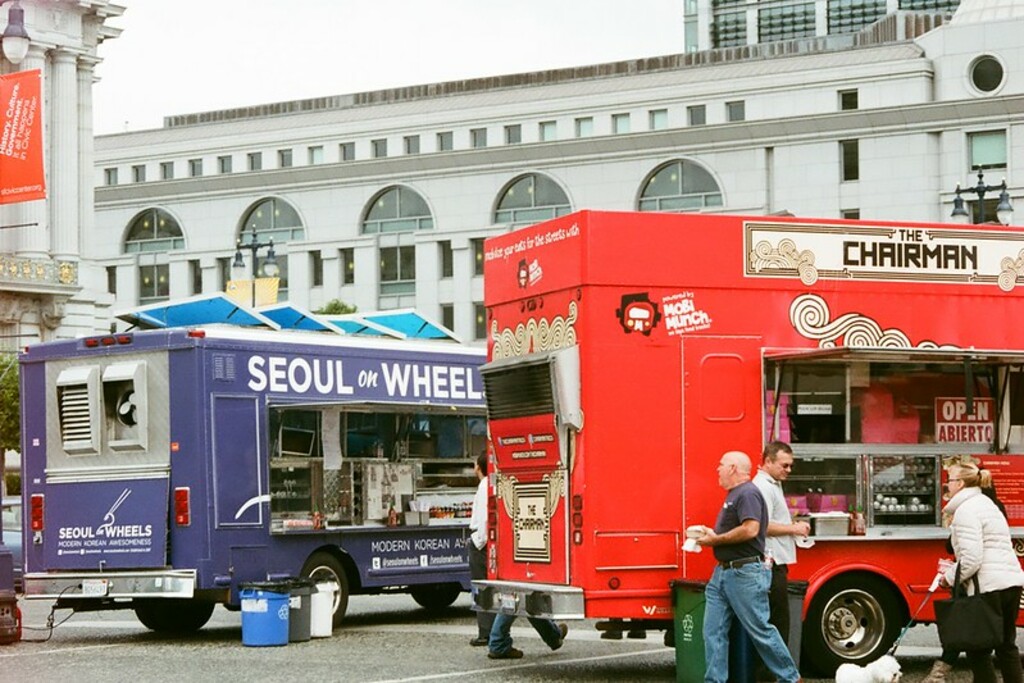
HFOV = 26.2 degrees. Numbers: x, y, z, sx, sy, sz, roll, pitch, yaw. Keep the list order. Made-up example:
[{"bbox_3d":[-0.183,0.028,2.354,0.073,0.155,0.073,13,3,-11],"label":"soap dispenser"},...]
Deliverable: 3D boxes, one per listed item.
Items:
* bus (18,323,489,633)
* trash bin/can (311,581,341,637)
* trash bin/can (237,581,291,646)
[{"bbox_3d":[-4.611,2.391,40.553,7.314,3.819,5.545,3,-5,-39],"label":"bus"},{"bbox_3d":[-3.472,4.853,39.270,0.780,0.889,0.750,2,-9,-9],"label":"trash bin/can"},{"bbox_3d":[-4.337,4.852,38.726,0.963,1.057,1.092,-6,-8,44],"label":"trash bin/can"}]
